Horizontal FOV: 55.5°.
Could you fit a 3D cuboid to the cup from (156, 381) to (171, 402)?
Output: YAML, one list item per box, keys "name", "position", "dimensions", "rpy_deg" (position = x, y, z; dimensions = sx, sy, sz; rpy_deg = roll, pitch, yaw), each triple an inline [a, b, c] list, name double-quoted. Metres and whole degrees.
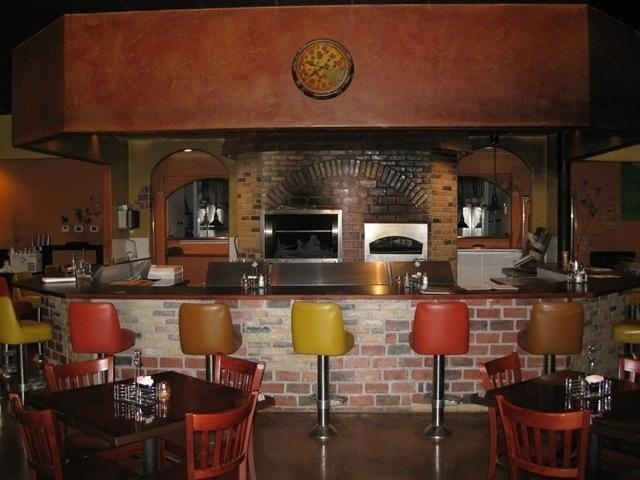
- name: "cup"
  position: [-1.113, 1.066, 4.312]
  dimensions: [0.100, 0.123, 0.206]
  rpy_deg: [0, -1, -14]

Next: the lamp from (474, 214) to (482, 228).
- name: "lamp"
  position: [3.452, -0.403, 13.241]
  dimensions: [0.247, 0.293, 0.237]
  rpy_deg: [1, 7, 4]
